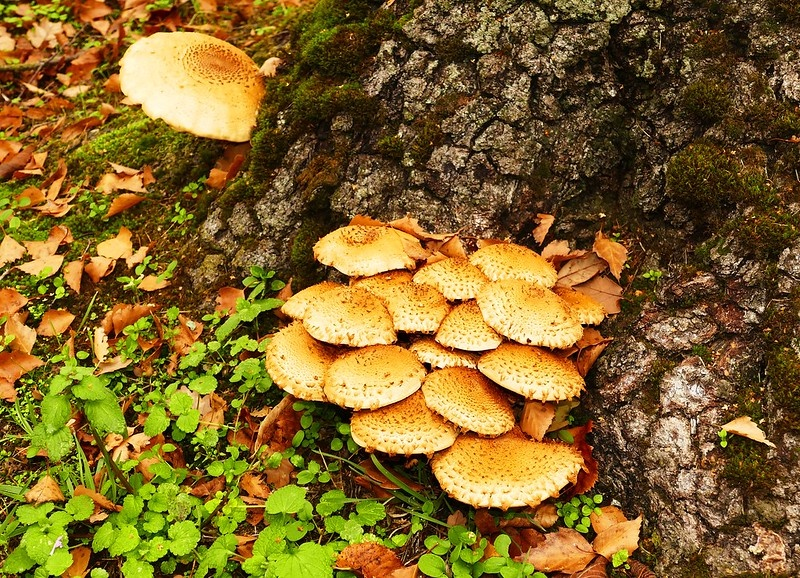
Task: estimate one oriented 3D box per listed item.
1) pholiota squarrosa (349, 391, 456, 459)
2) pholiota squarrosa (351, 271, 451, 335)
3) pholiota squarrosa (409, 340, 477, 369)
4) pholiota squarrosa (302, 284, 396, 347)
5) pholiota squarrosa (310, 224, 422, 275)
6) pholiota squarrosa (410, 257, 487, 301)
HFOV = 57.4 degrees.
[{"bbox_3d":[0.029,1.002,5.201,0.711,0.160,0.472,-18,64,-6],"label":"pholiota squarrosa"},{"bbox_3d":[0.028,0.088,5.422,0.507,0.149,0.494,23,50,11],"label":"pholiota squarrosa"},{"bbox_3d":[0.332,0.499,5.347,0.255,0.289,0.067,32,105,47],"label":"pholiota squarrosa"},{"bbox_3d":[-0.358,0.194,5.400,0.685,0.091,0.466,4,64,5],"label":"pholiota squarrosa"},{"bbox_3d":[-0.242,-0.302,5.562,0.509,0.111,0.480,20,35,26],"label":"pholiota squarrosa"},{"bbox_3d":[0.403,-0.071,5.449,0.359,0.132,0.359,-17,46,-26],"label":"pholiota squarrosa"}]
